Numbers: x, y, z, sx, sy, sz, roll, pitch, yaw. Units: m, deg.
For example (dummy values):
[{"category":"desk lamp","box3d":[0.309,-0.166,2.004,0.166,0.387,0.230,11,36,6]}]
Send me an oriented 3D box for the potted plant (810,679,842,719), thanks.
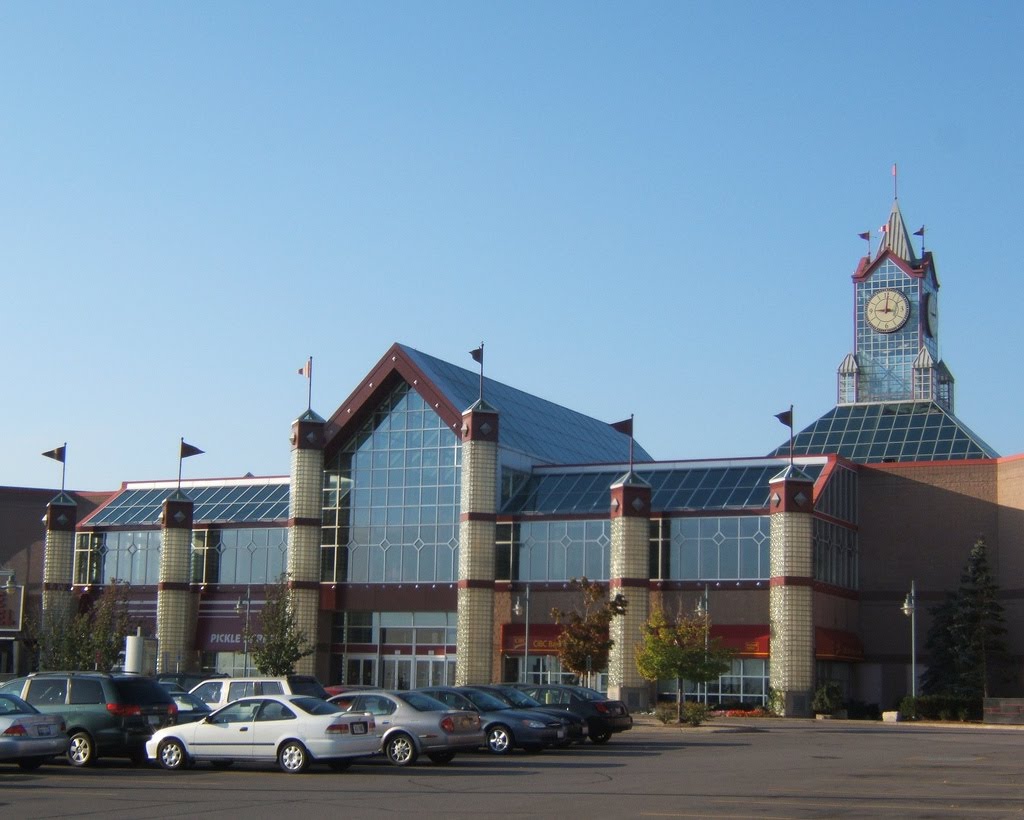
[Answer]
[{"category":"potted plant","box3d":[14.983,13.872,75.719,1.266,1.643,2.589,-2,-12,10]}]
